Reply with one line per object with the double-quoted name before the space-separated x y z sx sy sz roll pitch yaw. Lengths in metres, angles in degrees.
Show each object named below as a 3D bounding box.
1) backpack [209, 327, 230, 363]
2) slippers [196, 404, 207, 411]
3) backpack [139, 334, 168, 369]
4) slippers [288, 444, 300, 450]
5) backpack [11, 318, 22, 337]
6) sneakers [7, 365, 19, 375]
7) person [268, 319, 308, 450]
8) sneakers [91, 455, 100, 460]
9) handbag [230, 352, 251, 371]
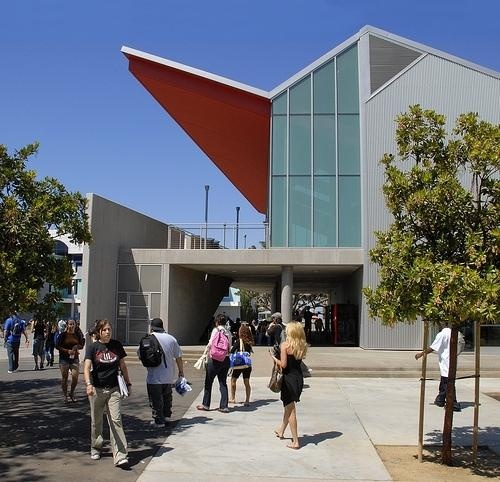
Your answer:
"backpack" -0.559 1.881 9.448 0.319 0.566 0.284 17 -5 -18
"slippers" -0.878 3.086 9.569 0.153 0.082 0.081 9 -10 15
"backpack" -1.589 1.758 8.237 0.312 0.562 0.285 -6 -9 14
"slippers" 0.576 2.771 7.009 0.126 0.068 0.069 3 -10 16
"backpack" -6.811 2.538 15.246 0.312 0.595 0.479 8 -14 -31
"sneakers" -7.017 3.832 15.472 0.134 0.200 0.451 2 -4 -1
"person" 0.557 2.045 7.577 0.468 1.716 1.112 -1 -6 3
"sneakers" -1.936 2.711 6.504 0.108 0.054 0.095 0 -7 -6
"handbag" -0.198 2.297 9.893 0.263 0.321 0.135 6 -25 -11
